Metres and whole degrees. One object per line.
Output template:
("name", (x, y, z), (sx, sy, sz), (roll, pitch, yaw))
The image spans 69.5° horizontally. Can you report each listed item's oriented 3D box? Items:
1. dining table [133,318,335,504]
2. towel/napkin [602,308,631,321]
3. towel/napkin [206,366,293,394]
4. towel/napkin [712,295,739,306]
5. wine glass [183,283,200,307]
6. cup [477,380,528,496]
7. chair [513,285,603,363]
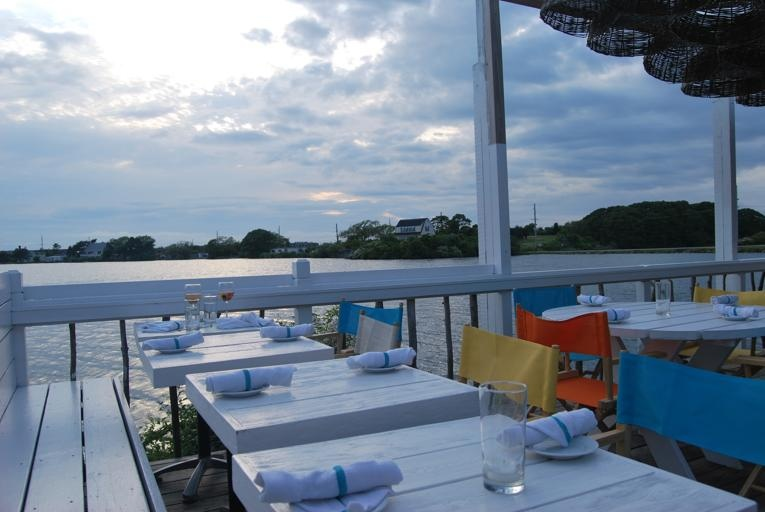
("dining table", (-0.930, 0.823, 3.353), (1.194, 0.743, 1.107), (-2, 9, -25))
("towel/napkin", (1.531, 0.375, 3.574), (0.213, 0.099, 0.063), (2, -16, -18))
("towel/napkin", (-0.594, 0.536, 2.493), (0.384, 0.092, 0.136), (1, -3, -21))
("towel/napkin", (2.408, 0.303, 3.871), (0.125, 0.039, 0.120), (0, 0, -34))
("wine glass", (-1.223, 0.240, 3.564), (0.090, 0.147, 0.262), (-5, 13, -17))
("cup", (0.430, 0.627, 1.948), (0.178, 0.351, 0.212), (2, 14, 9))
("chair", (1.374, 0.576, 4.814), (0.735, 0.595, 0.691), (0, -6, -14))
